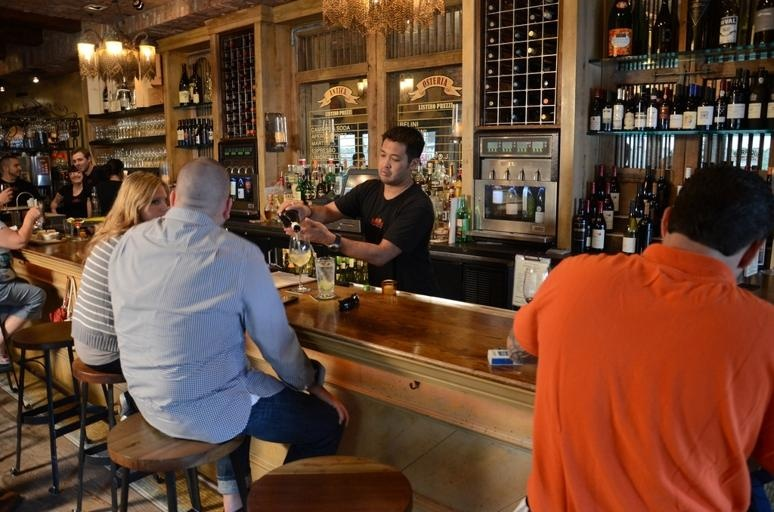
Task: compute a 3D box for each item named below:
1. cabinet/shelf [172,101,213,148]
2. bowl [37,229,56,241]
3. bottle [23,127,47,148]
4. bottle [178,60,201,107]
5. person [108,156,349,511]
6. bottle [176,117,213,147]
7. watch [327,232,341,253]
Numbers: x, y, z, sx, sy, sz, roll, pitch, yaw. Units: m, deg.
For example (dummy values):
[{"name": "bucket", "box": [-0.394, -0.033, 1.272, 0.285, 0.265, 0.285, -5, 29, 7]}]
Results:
[{"name": "cabinet/shelf", "box": [-2.538, -1.691, 6.953, 0.608, 0.548, 0.219, 3, 3, 36]}, {"name": "bowl", "box": [-2.933, -0.183, 4.620, 0.111, 0.058, 0.135, 4, 5, -4]}, {"name": "bottle", "box": [-6.183, -2.034, 9.464, 0.354, 0.353, 0.365, 0, 4, 8]}, {"name": "bottle", "box": [-2.603, -2.220, 6.994, 0.277, 0.556, 0.402, -9, 15, -43]}, {"name": "person", "box": [-0.662, 0.254, 2.208, 0.877, 1.251, 0.375, -3, 11, -21]}, {"name": "bottle", "box": [-2.484, -1.580, 6.909, 0.390, 0.263, 0.117, 10, 23, 25]}, {"name": "watch", "box": [-0.279, -0.074, 2.857, 0.062, 0.096, 0.099, 8, 1, -12]}]
